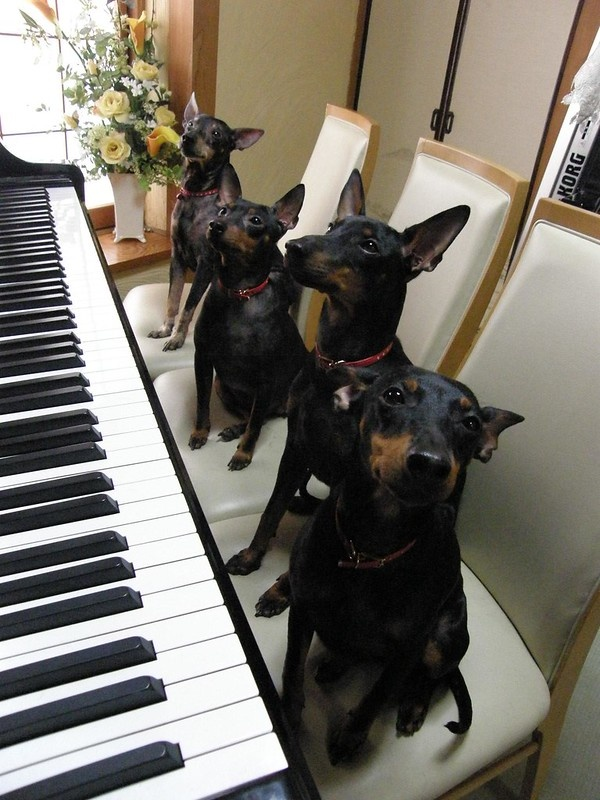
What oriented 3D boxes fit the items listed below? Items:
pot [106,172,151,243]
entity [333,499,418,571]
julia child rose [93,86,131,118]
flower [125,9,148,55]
[{"bbox_3d":[-0.747,-0.809,2.784,0.236,0.269,0.243,-2,-8,0],"label":"pot"},{"bbox_3d":[0.074,0.170,0.724,0.103,0.079,0.033,30,38,25],"label":"entity"},{"bbox_3d":[-0.718,-1.125,2.376,0.129,0.107,0.111,0,35,-18],"label":"julia child rose"},{"bbox_3d":[-0.640,-1.432,2.428,0.070,0.143,0.153,4,34,-13],"label":"flower"}]
